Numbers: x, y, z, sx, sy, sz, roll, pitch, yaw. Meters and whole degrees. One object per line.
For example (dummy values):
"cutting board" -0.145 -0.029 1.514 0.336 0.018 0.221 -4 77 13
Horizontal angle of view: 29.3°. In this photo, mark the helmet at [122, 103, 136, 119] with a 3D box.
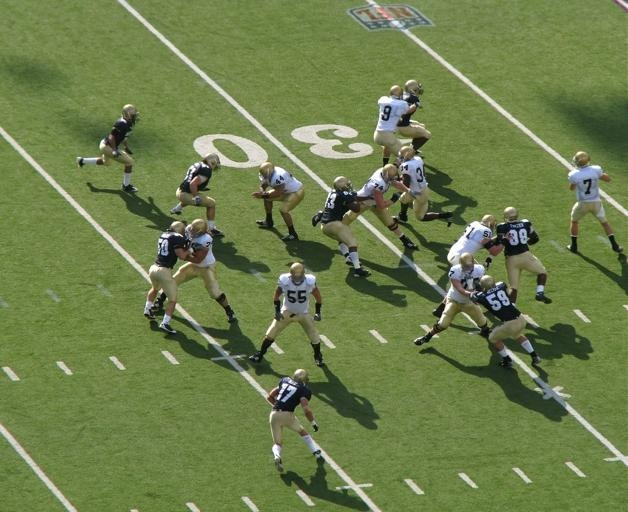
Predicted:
"helmet" -3.517 -2.771 23.087 0.228 0.304 0.221 -12 57 -20

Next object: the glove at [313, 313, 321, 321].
"glove" 0.055 0.984 19.707 0.149 0.146 0.086 6 46 -2

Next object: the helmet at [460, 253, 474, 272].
"helmet" 2.488 0.083 19.633 0.281 0.306 0.239 -3 79 5

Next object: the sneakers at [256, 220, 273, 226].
"sneakers" -0.943 -0.637 22.786 0.324 0.098 0.097 11 7 9

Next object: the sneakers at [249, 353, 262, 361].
"sneakers" -0.947 1.636 19.651 0.110 0.091 0.237 1 14 -18

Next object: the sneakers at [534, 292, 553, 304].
"sneakers" 3.987 0.723 21.011 0.252 0.079 0.157 28 25 -2

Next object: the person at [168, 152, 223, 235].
"person" -2.193 -1.120 22.452 1.135 1.388 1.260 -7 42 -21

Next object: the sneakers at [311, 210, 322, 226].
"sneakers" 0.021 -0.697 22.008 0.172 0.331 0.118 -22 72 -34

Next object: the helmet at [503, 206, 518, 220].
"helmet" 3.382 -0.750 20.860 0.258 0.214 0.260 -9 26 -1

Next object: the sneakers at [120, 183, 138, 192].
"sneakers" -3.563 -1.331 23.280 0.311 0.106 0.124 -3 34 -5

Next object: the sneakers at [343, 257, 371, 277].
"sneakers" 0.763 0.195 21.659 0.257 0.209 0.597 -6 9 -24

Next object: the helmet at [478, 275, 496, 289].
"helmet" 2.796 0.408 19.587 0.235 0.232 0.203 -2 77 -2

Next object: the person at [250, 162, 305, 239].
"person" -0.687 -1.003 22.680 1.198 1.290 1.036 -13 41 -17

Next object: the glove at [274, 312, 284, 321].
"glove" -0.556 0.955 19.368 0.170 0.118 0.107 -2 86 -18

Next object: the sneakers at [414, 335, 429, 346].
"sneakers" 1.801 1.395 20.095 0.141 0.090 0.338 27 34 35

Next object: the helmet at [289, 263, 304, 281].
"helmet" -0.251 0.217 19.068 0.300 0.215 0.280 1 17 3

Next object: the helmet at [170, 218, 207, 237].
"helmet" -2.079 -0.496 20.132 0.547 0.163 0.346 -3 2 5

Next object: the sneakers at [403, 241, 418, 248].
"sneakers" 1.789 -0.230 22.379 0.284 0.096 0.078 -2 43 -9

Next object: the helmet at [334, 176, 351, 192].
"helmet" 0.513 -1.335 21.684 0.362 0.239 0.201 -11 57 5

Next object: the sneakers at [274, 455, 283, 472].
"sneakers" -0.530 3.084 17.906 0.114 0.202 0.242 -19 88 1
